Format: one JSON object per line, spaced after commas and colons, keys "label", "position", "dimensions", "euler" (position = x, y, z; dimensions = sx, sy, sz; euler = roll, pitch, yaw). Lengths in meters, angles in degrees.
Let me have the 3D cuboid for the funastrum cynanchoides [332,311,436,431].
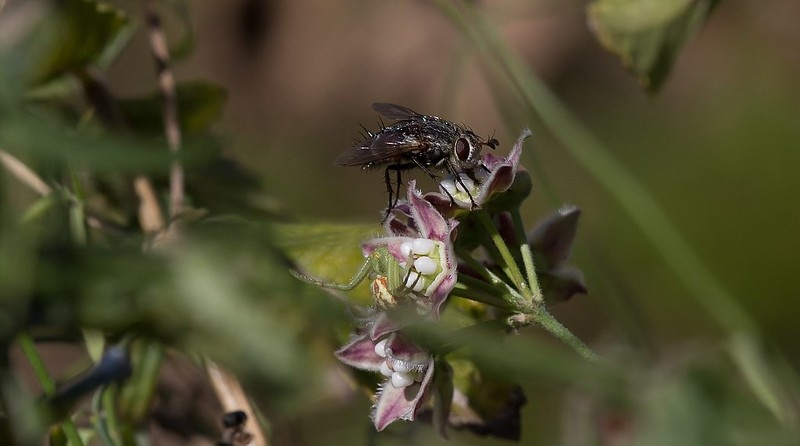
{"label": "funastrum cynanchoides", "position": [-0.016, 0.220, 1.249], "dimensions": [0.146, 0.174, 0.063], "euler": [3, 34, 28]}
